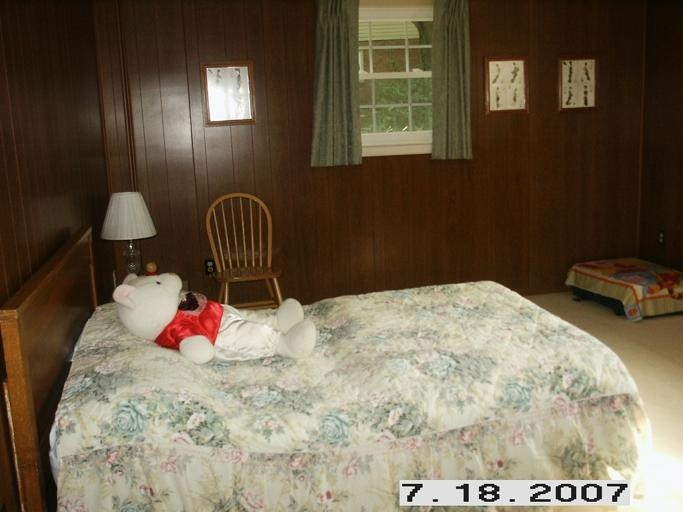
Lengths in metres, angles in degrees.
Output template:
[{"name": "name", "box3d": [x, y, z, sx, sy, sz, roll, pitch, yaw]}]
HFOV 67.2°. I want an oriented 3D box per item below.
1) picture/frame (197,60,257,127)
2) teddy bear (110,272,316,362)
[{"name": "picture/frame", "box3d": [-0.914, -1.294, 3.995, 0.445, 0.569, 0.040, -3, 14, -8]}, {"name": "teddy bear", "box3d": [-0.564, 0.282, 2.151, 0.535, 0.252, 0.514, 5, 7, -17]}]
